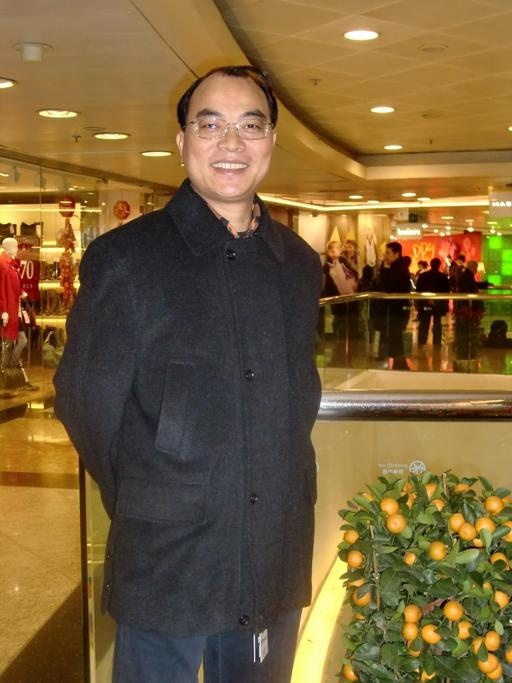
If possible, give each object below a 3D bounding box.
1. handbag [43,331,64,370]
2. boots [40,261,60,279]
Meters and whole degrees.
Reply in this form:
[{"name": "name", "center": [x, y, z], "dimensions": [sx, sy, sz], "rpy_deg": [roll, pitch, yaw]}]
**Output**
[{"name": "handbag", "center": [-2.729, 0.122, 7.239], "dimensions": [0.177, 0.502, 0.334], "rpy_deg": [-15, -16, 32]}, {"name": "boots", "center": [-3.165, -1.080, 8.329], "dimensions": [0.239, 0.260, 0.265], "rpy_deg": [0, -4, -14]}]
